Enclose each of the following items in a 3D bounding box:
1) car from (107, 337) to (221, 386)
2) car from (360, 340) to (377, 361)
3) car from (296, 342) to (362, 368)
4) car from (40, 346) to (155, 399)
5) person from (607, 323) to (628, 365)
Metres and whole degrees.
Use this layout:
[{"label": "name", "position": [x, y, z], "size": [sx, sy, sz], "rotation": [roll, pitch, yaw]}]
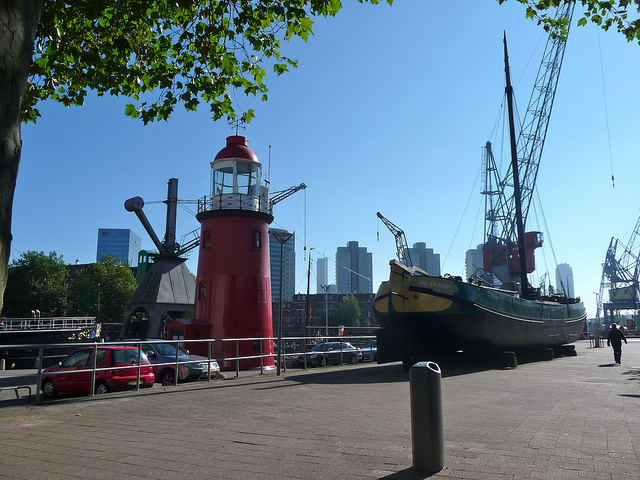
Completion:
[{"label": "car", "position": [-5.955, 4.842, 19.315], "size": [3.941, 1.849, 1.965], "rotation": [-3, -8, 16]}, {"label": "car", "position": [2.823, 6.305, 28.605], "size": [0.864, 0.857, 1.597], "rotation": [-3, -6, 27]}, {"label": "car", "position": [0.701, 6.025, 25.937], "size": [3.099, 1.102, 1.320], "rotation": [11, -17, -38]}, {"label": "car", "position": [-6.848, 4.291, 15.355], "size": [2.741, 1.547, 1.803], "rotation": [-3, -9, 22]}, {"label": "person", "position": [12.861, 4.472, 21.708], "size": [0.578, 1.662, 1.732], "rotation": [-6, -11, 31]}]
